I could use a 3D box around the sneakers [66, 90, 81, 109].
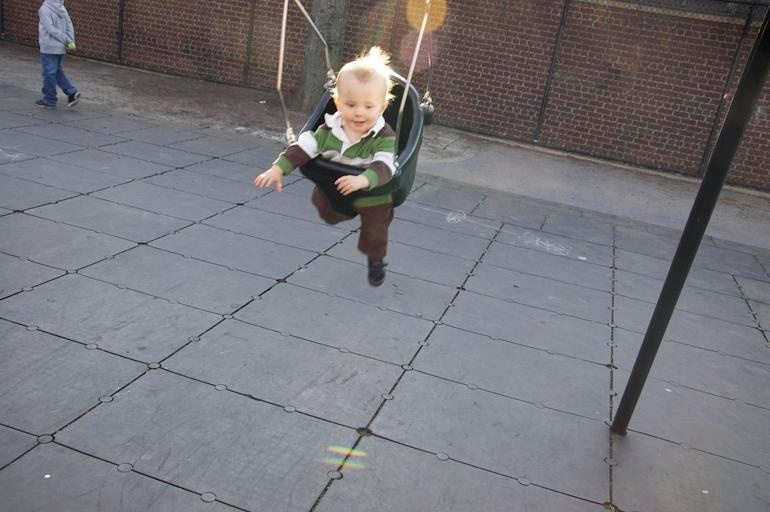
[{"bbox_3d":[-4.490,-2.258,9.643,0.133,0.311,0.141,37,15,-26],"label":"sneakers"}]

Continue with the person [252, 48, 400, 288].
[{"bbox_3d":[-0.342,-0.507,5.052,0.945,2.045,0.983,12,32,0],"label":"person"}]

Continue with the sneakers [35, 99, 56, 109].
[{"bbox_3d":[-4.826,-2.156,9.534,0.304,0.124,0.101,3,71,-29],"label":"sneakers"}]

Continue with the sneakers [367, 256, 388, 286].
[{"bbox_3d":[-0.073,0.113,5.371,0.119,0.244,0.121,-1,-9,4],"label":"sneakers"}]
